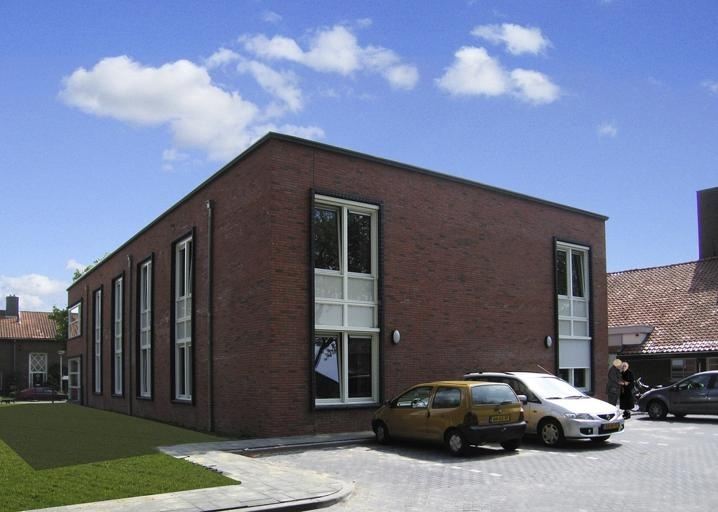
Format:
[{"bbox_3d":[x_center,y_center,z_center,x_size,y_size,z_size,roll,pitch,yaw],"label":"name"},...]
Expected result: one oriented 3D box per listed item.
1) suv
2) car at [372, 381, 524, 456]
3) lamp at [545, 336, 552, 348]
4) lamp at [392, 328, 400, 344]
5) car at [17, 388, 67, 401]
[{"bbox_3d":[4.784,3.948,15.888,1.862,1.176,3.126,7,-12,-42],"label":"suv"},{"bbox_3d":[2.103,3.863,14.633,3.214,1.660,1.258,-9,-13,32],"label":"car"},{"bbox_3d":[6.939,3.142,22.409,0.134,0.482,0.475,-4,-4,42],"label":"lamp"},{"bbox_3d":[1.133,2.426,18.346,0.358,0.437,0.160,8,-14,-44],"label":"lamp"},{"bbox_3d":[-26.168,11.353,50.116,3.420,1.069,5.978,6,-14,-34],"label":"car"}]
